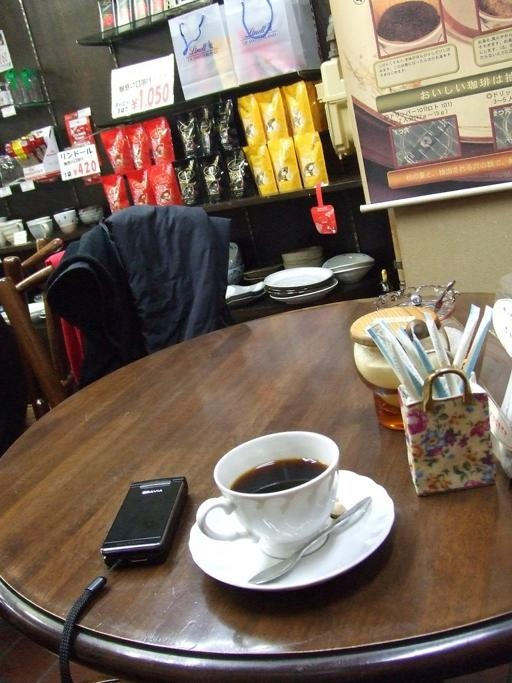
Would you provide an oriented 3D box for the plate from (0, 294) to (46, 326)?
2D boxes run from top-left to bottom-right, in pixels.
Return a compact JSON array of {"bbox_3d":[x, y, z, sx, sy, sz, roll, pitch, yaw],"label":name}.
[{"bbox_3d":[-0.751,-0.099,1.630,0.155,0.053,0.149,-19,29,-10],"label":"plate"}]

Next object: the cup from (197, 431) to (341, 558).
[{"bbox_3d":[0.015,0.114,0.389,0.109,0.066,0.085,-24,29,-14],"label":"cup"}]

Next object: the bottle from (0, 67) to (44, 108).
[{"bbox_3d":[-1.275,-1.401,2.736,0.170,0.219,0.163,-14,18,5],"label":"bottle"}]
